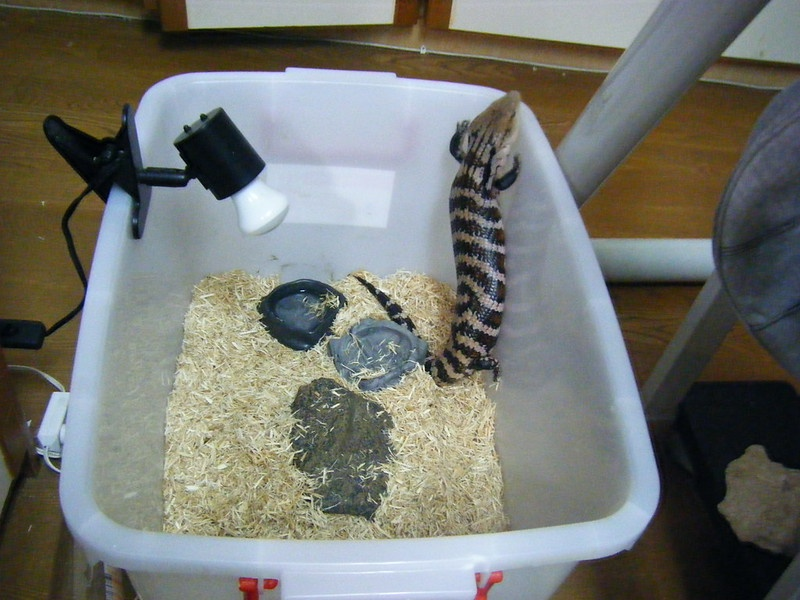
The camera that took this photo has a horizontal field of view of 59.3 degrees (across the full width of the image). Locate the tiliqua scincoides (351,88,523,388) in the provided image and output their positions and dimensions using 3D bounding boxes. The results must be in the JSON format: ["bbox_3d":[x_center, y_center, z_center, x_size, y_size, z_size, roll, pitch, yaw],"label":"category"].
[{"bbox_3d":[0.156,-0.185,2.189,0.555,0.190,0.818,12,96,39],"label":"tiliqua scincoides"}]

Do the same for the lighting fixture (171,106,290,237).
[{"bbox_3d":[-0.432,-0.320,1.843,0.167,0.353,0.194,-31,22,4],"label":"lighting fixture"}]
